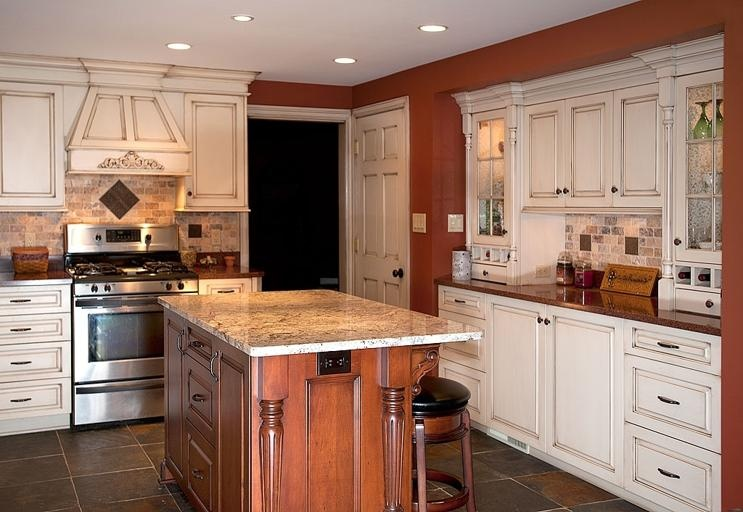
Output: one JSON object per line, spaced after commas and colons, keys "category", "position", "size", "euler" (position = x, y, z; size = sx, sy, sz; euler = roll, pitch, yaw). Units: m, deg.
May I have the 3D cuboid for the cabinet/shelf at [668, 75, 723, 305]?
{"category": "cabinet/shelf", "position": [1.965, -0.367, 3.347], "size": [0.163, 1.396, 0.340], "euler": [-4, 6, -32]}

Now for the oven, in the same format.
{"category": "oven", "position": [-2.174, 0.828, 5.129], "size": [1.132, 1.426, 1.009], "euler": [0, 0, -23]}

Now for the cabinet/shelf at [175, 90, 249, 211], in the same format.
{"category": "cabinet/shelf", "position": [-1.379, -0.998, 5.516], "size": [0.919, 1.140, 0.887], "euler": [-1, 10, -16]}

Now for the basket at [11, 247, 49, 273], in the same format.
{"category": "basket", "position": [-2.985, 0.035, 4.898], "size": [0.282, 0.216, 0.361], "euler": [-3, 6, -30]}

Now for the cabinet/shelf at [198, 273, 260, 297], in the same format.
{"category": "cabinet/shelf", "position": [-1.282, 0.256, 5.043], "size": [0.396, 0.356, 0.259], "euler": [-1, 2, -26]}

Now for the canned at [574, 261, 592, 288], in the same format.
{"category": "canned", "position": [1.585, 0.147, 4.338], "size": [0.189, 0.229, 0.168], "euler": [0, -2, 2]}

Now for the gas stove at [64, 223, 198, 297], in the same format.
{"category": "gas stove", "position": [-2.165, 0.015, 4.990], "size": [1.010, 0.589, 0.862], "euler": [-3, 6, -28]}

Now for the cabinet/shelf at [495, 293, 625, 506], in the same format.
{"category": "cabinet/shelf", "position": [1.032, 0.845, 3.819], "size": [1.280, 1.048, 0.466], "euler": [21, -29, -18]}
